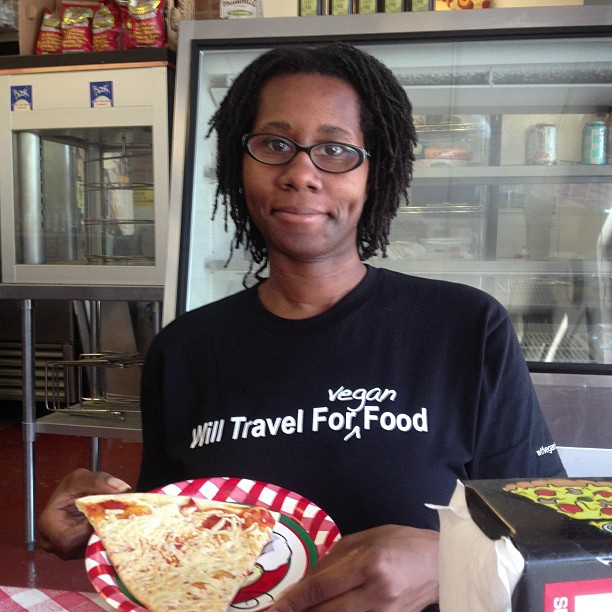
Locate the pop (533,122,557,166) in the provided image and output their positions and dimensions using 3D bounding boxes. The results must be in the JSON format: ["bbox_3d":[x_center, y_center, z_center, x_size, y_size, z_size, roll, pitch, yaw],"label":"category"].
[{"bbox_3d":[0.799,-0.542,2.171,0.072,0.140,0.064,-1,8,-5],"label":"pop"}]

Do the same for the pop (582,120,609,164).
[{"bbox_3d":[0.908,-0.514,2.054,0.080,0.157,0.179,3,8,20],"label":"pop"}]
